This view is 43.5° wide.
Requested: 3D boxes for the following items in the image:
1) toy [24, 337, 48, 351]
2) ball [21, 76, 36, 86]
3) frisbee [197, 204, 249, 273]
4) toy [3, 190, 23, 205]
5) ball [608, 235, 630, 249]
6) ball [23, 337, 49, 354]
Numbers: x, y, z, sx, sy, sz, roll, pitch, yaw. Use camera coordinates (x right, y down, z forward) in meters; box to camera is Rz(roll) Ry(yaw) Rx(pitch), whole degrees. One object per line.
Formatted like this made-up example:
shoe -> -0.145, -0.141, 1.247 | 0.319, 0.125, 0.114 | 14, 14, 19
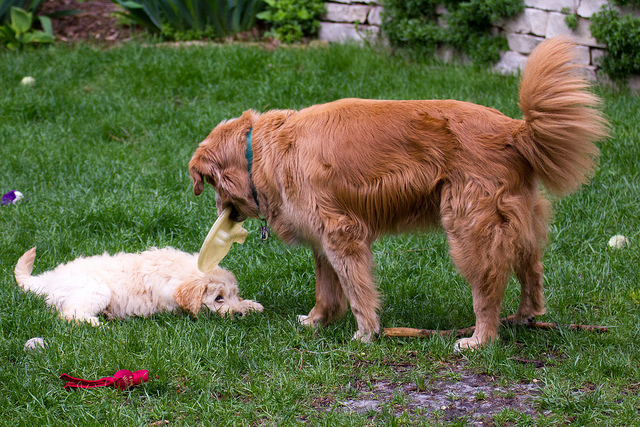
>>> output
toy -> -2.515, 1.165, 7.070 | 0.191, 0.060, 0.122 | -4, 20, -15
ball -> -4.067, -1.863, 11.144 | 0.189, 0.111, 0.040 | -6, 19, -21
frisbee -> -0.960, 0.253, 7.623 | 0.154, 0.641, 0.455 | 30, 3, 11
toy -> -3.510, -0.181, 9.035 | 0.281, 0.183, 0.103 | -4, -10, 35
ball -> 3.166, 0.305, 8.492 | 0.209, 0.096, 0.134 | 7, 20, 16
ball -> -2.528, 1.167, 7.091 | 0.126, 0.105, 0.127 | 17, 11, -3
